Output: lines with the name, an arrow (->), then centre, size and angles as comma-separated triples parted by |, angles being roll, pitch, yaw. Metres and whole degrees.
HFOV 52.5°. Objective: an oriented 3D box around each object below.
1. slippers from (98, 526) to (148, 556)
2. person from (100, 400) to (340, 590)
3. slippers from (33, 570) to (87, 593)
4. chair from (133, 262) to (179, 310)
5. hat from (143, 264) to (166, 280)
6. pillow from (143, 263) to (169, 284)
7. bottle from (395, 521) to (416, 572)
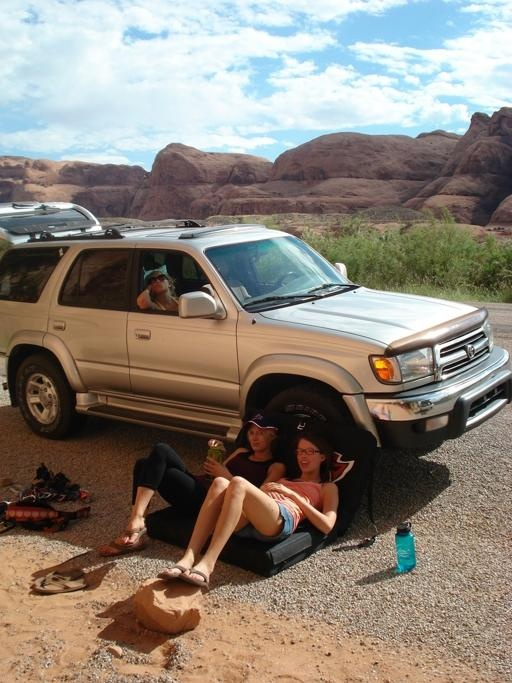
slippers -> -0.798, 1.261, 3.266 | 0.346, 0.122, 0.129 | -17, 9, -3
person -> -0.124, 0.869, 3.206 | 0.860, 0.683, 1.285 | -4, -8, 42
slippers -> -1.090, 1.350, 2.895 | 0.288, 0.041, 0.240 | -4, 2, -19
chair -> -0.841, -0.458, 4.614 | 0.387, 0.393, 0.190 | -16, -17, -10
hat -> -0.894, -0.628, 4.703 | 0.174, 0.087, 0.136 | -17, 19, 11
pillow -> -0.886, -0.598, 4.673 | 0.198, 0.187, 0.058 | -2, 18, 4
bottle -> 0.827, 1.129, 2.879 | 0.108, 0.270, 0.209 | -3, 2, 14
